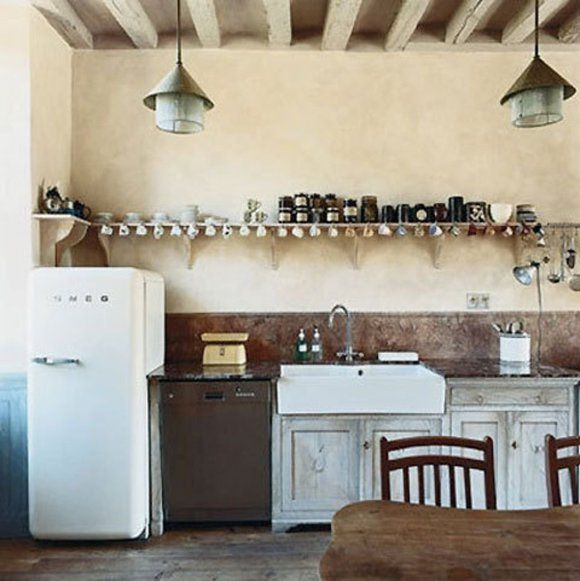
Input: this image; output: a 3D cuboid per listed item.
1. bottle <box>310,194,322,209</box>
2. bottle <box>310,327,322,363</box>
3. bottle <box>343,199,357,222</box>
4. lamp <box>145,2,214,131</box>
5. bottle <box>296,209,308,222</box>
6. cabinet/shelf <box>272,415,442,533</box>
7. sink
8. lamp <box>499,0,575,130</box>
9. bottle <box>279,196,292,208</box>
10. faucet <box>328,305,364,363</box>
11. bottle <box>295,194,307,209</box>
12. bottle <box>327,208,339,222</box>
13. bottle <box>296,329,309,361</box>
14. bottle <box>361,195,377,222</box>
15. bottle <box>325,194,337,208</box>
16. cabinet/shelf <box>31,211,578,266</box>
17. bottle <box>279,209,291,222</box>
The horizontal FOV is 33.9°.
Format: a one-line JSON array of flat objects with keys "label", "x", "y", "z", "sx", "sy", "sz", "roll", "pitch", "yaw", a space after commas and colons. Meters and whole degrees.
[{"label": "bottle", "x": 0.164, "y": -0.582, "z": 6.195, "sx": 0.075, "sy": 0.161, "sz": 0.086, "roll": -2, "pitch": 7, "yaw": -8}, {"label": "bottle", "x": 0.165, "y": 0.345, "z": 6.170, "sx": 0.075, "sy": 0.232, "sz": 0.205, "roll": 0, "pitch": -4, "yaw": 2}, {"label": "bottle", "x": 0.384, "y": -0.508, "z": 6.090, "sx": 0.108, "sy": 0.178, "sz": 0.115, "roll": 1, "pitch": -4, "yaw": 0}, {"label": "lamp", "x": -0.612, "y": -1.320, "z": 5.436, "sx": 0.371, "sy": 0.970, "sz": 0.823, "roll": 0, "pitch": -4, "yaw": 0}, {"label": "bottle", "x": 0.070, "y": -0.473, "z": 6.109, "sx": 0.081, "sy": 0.094, "sz": 0.081, "roll": 0, "pitch": -4, "yaw": -1}, {"label": "cabinet/shelf", "x": 0.378, "y": 0.991, "z": 5.157, "sx": 0.626, "sy": 0.516, "sz": 0.243, "roll": -1, "pitch": -8, "yaw": 2}, {"label": "sink", "x": 0.421, "y": 0.597, "z": 5.808, "sx": 0.985, "sy": 0.294, "sz": 0.556, "roll": 0, "pitch": -4, "yaw": 0}, {"label": "lamp", "x": 1.318, "y": -1.193, "z": 5.097, "sx": 0.360, "sy": 0.611, "sz": 0.295, "roll": 0, "pitch": -4, "yaw": 3}, {"label": "bottle", "x": -0.038, "y": -0.573, "z": 6.139, "sx": 0.069, "sy": 0.076, "sz": 0.074, "roll": 2, "pitch": 10, "yaw": 5}, {"label": "faucet", "x": 0.353, "y": 0.272, "z": 6.141, "sx": 0.234, "sy": 0.375, "sz": 0.291, "roll": 0, "pitch": -4, "yaw": 3}, {"label": "bottle", "x": 0.069, "y": -0.570, "z": 6.140, "sx": 0.080, "sy": 0.100, "sz": 0.085, "roll": 1, "pitch": -3, "yaw": 0}, {"label": "bottle", "x": 0.283, "y": -0.480, "z": 6.129, "sx": 0.071, "sy": 0.089, "sz": 0.077, "roll": 1, "pitch": -2, "yaw": 0}, {"label": "bottle", "x": 0.075, "y": 0.348, "z": 6.206, "sx": 0.076, "sy": 0.218, "sz": 0.129, "roll": 0, "pitch": -4, "yaw": -1}, {"label": "bottle", "x": 0.506, "y": -0.514, "z": 6.102, "sx": 0.128, "sy": 0.261, "sz": 0.141, "roll": -1, "pitch": 3, "yaw": 0}, {"label": "bottle", "x": 0.261, "y": -0.577, "z": 6.160, "sx": 0.068, "sy": 0.086, "sz": 0.093, "roll": 0, "pitch": -4, "yaw": -6}, {"label": "cabinet/shelf", "x": 0.159, "y": -0.318, "z": 6.147, "sx": 3.452, "sy": 0.337, "sz": 0.657, "roll": 0, "pitch": -4, "yaw": -7}, {"label": "bottle", "x": -0.033, "y": -0.475, "z": 6.104, "sx": 0.085, "sy": 0.102, "sz": 0.101, "roll": 0, "pitch": -4, "yaw": -3}]
